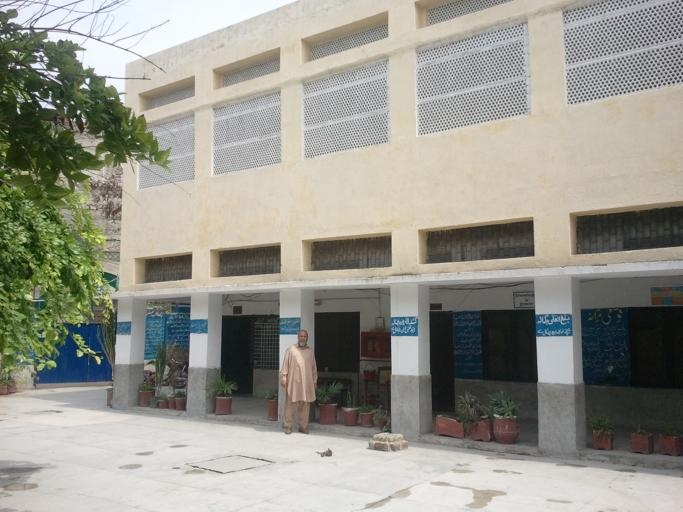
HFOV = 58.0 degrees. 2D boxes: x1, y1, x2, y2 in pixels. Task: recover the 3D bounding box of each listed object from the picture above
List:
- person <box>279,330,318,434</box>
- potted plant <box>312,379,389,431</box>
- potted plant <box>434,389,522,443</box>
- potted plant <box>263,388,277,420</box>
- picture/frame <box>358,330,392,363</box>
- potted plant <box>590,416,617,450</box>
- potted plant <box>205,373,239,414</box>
[{"bbox_3d":[-0.985,2.817,13.819,0.794,2.262,0.395,0,-2,-5],"label":"person"},{"bbox_3d":[0.191,3.544,14.576,1.051,0.724,1.302,8,-8,-44],"label":"potted plant"},{"bbox_3d":[2.858,3.280,12.823,1.618,0.941,1.087,-2,-3,26],"label":"potted plant"},{"bbox_3d":[-1.704,3.651,15.147,0.247,0.673,0.674,0,-3,-7],"label":"potted plant"},{"bbox_3d":[0.984,2.446,16.871,0.678,0.930,1.251,7,-9,-42],"label":"picture/frame"},{"bbox_3d":[4.961,3.403,11.913,0.563,0.839,0.585,-4,-15,27],"label":"potted plant"},{"bbox_3d":[-3.037,3.601,16.213,0.917,1.068,0.873,6,-8,-34],"label":"potted plant"}]
